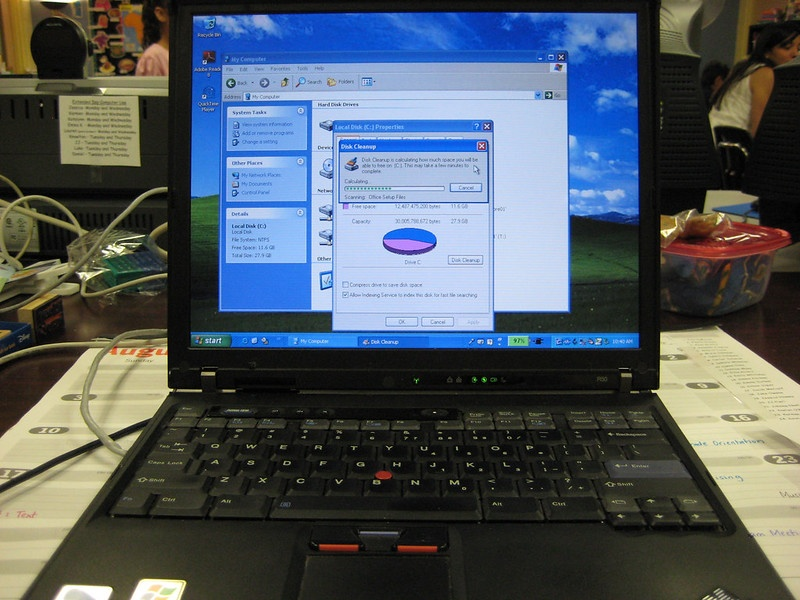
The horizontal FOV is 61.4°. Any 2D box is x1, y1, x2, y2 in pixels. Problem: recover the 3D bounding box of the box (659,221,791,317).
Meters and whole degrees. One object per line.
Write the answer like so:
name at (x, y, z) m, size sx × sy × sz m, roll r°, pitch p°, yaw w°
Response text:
box at (0.493, -0.043, 1.102) m, size 0.244 × 0.097 × 0.223 m, roll -12°, pitch 13°, yaw -40°
